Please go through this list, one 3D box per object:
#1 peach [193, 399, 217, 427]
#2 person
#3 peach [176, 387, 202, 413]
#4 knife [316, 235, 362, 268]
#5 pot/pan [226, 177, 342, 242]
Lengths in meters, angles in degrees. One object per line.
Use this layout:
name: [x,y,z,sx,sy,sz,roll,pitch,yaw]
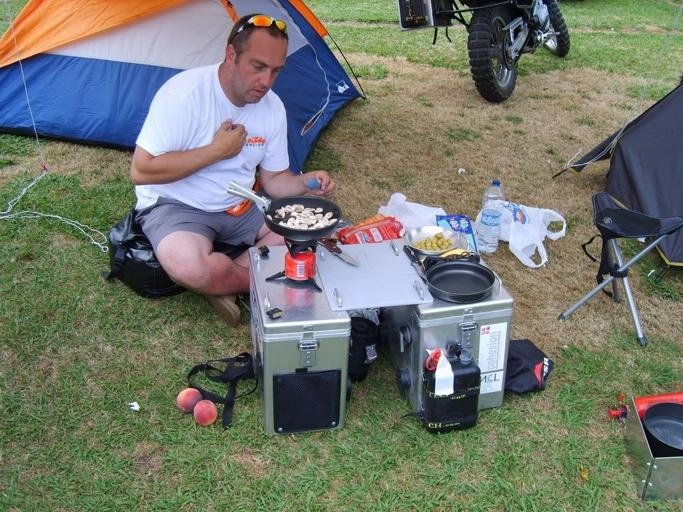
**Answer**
peach: [-0.634,0.732,2.720,0.105,0.113,0.115,19,94,-8]
person: [-0.722,-0.596,3.356,1.063,1.875,0.992,-12,35,-28]
peach: [-0.723,0.680,2.704,0.106,0.115,0.116,-8,79,38]
knife: [-0.020,-0.026,2.928,0.082,0.037,0.373,-17,38,-29]
pot/pan: [-0.270,-0.191,2.769,0.431,0.331,0.570,-4,27,-13]
